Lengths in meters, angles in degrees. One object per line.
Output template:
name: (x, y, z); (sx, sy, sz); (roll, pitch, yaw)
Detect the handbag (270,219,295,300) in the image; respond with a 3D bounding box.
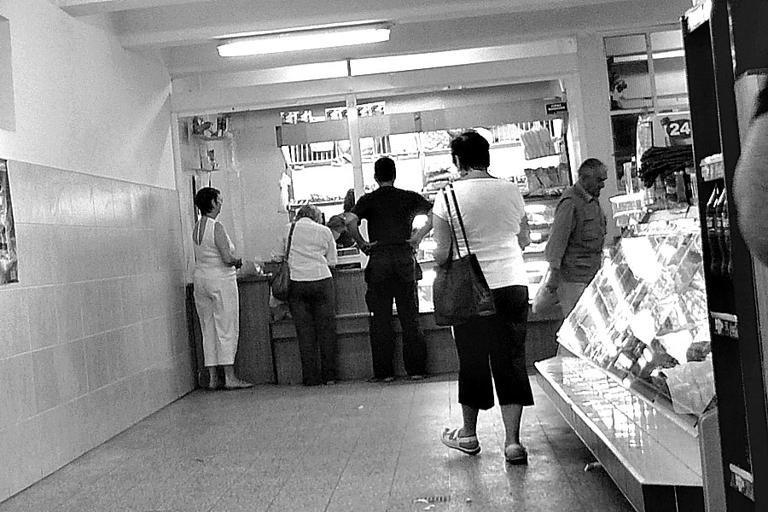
handbag: (-1.154, 0.070, 6.811); (0.345, 0.744, 0.230); (-4, -1, 6)

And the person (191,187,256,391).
person: (-1.904, 0.366, 6.929); (0.622, 1.791, 0.481); (-4, -1, -3)

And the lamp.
lamp: (-0.893, -2.430, 6.699); (1.917, 0.256, 0.250); (-5, 0, 0)

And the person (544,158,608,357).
person: (1.670, -0.176, 5.182); (0.615, 1.593, 0.197); (-4, -1, -17)

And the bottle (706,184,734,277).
bottle: (0.932, -0.071, 1.663); (0.042, 0.287, 0.171); (-4, -1, 17)

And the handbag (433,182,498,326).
handbag: (0.475, -0.017, 3.762); (0.380, 0.837, 0.143); (-4, -1, 15)

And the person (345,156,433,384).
person: (0.092, 0.159, 6.483); (0.863, 2.145, 0.510); (-4, -1, 5)

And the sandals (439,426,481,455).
sandals: (0.496, 1.214, 4.038); (0.276, 0.131, 0.145); (11, 1, 41)

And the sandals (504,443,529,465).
sandals: (0.848, 1.255, 3.846); (0.140, 0.132, 0.140); (-4, 0, 11)
